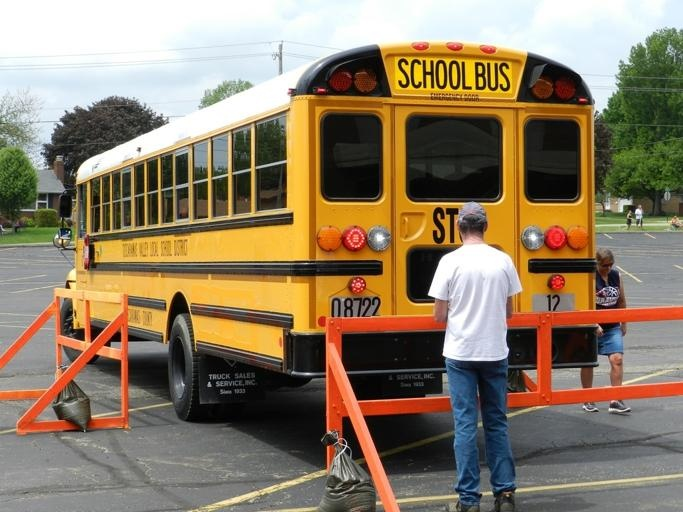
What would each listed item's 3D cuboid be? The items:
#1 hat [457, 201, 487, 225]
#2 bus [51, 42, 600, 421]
[{"bbox_3d":[0.945,-0.318,5.572,0.128,0.118,0.198,0,0,-4],"label":"hat"},{"bbox_3d":[-0.519,-0.004,8.446,2.494,3.740,5.778,1,-2,-41],"label":"bus"}]
